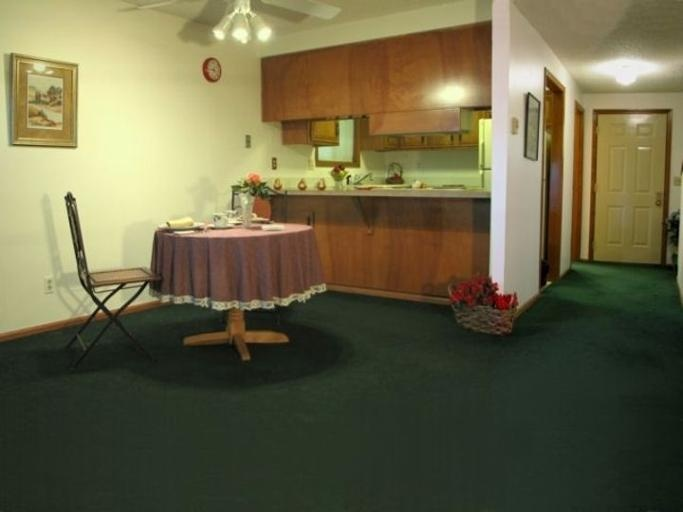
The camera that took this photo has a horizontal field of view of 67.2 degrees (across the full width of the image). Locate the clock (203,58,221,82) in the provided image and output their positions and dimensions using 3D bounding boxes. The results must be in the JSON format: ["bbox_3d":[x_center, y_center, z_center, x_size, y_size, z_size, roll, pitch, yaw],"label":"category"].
[{"bbox_3d":[-1.391,-1.987,5.508,0.042,0.263,0.284,6,14,26],"label":"clock"}]

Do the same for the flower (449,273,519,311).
[{"bbox_3d":[1.194,0.319,4.375,0.400,0.199,0.321,2,-1,37],"label":"flower"}]

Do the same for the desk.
[{"bbox_3d":[-0.714,0.114,3.818,1.065,0.765,1.082,6,12,25],"label":"desk"}]

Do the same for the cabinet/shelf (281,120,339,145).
[{"bbox_3d":[-0.349,-1.510,6.338,0.768,0.306,0.534,-5,14,-20],"label":"cabinet/shelf"}]

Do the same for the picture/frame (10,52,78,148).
[{"bbox_3d":[-2.437,-1.264,4.218,0.086,0.698,0.554,8,15,31],"label":"picture/frame"}]

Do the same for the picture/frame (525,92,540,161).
[{"bbox_3d":[1.836,-1.263,4.970,0.055,0.681,0.696,0,4,30],"label":"picture/frame"}]

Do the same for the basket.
[{"bbox_3d":[1.133,0.475,4.222,0.402,0.259,0.287,1,0,30],"label":"basket"}]

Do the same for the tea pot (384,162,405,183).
[{"bbox_3d":[0.820,-1.289,8.015,0.324,0.348,0.307,2,0,0],"label":"tea pot"}]

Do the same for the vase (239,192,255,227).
[{"bbox_3d":[-0.770,-0.342,4.078,0.147,0.236,0.139,7,-10,-30],"label":"vase"}]
